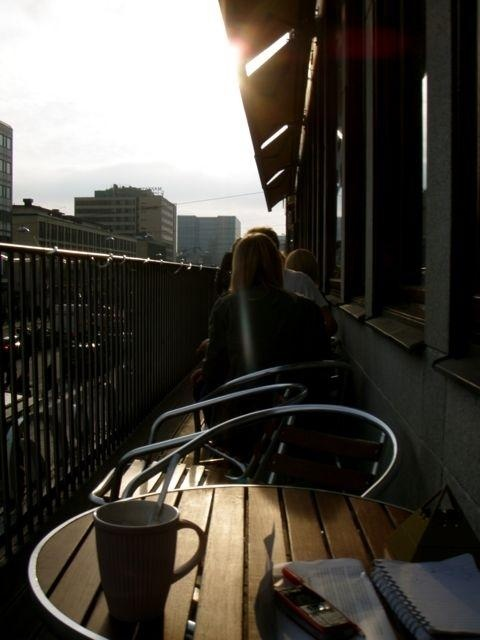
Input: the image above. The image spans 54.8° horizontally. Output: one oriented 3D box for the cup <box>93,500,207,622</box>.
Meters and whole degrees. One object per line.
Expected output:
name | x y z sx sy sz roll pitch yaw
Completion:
cup | -0.111 0.340 0.654 0.111 0.150 0.090 6 4 -18
